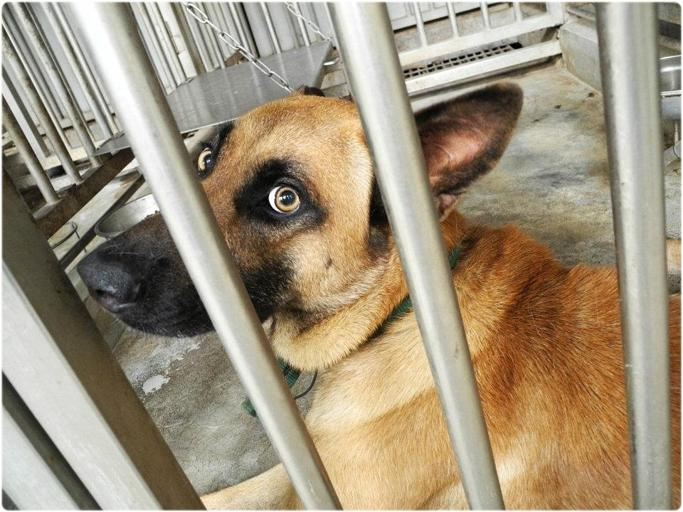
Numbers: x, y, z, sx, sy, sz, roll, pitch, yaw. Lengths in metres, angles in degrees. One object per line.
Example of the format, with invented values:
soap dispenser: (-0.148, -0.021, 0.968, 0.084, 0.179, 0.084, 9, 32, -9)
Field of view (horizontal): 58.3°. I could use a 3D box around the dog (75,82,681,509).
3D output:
dog: (0.204, 0.041, 1.961, 2.195, 1.127, 0.892, 7, 20, 2)
